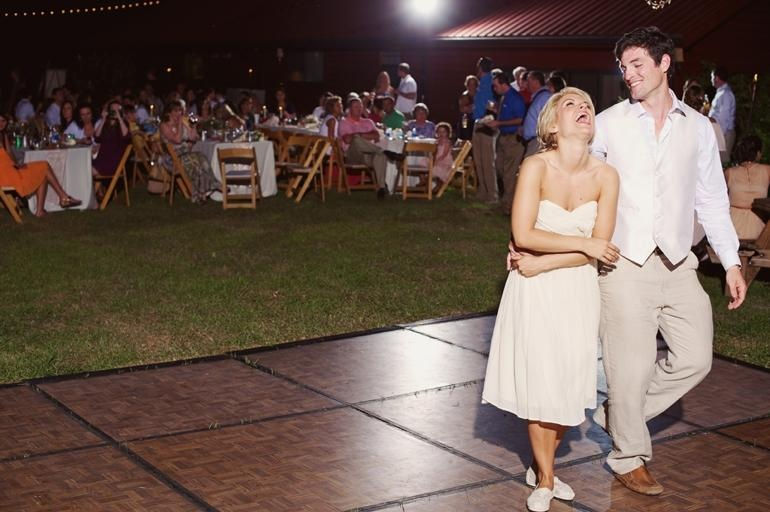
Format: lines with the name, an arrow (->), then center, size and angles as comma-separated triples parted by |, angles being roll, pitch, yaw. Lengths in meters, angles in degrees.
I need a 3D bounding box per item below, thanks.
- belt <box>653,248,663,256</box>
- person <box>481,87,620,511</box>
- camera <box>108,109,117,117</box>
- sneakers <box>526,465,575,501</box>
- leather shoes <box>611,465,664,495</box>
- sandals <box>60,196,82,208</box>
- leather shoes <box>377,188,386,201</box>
belt -> 1.462, -0.022, 3.212 | 0.048, 0.049, 0.016 | 2, 12, 8
person -> 0.861, 0.243, 3.138 | 0.652, 2.152, 0.473 | 2, 12, 9
camera -> -5.824, -2.999, 12.848 | 0.219, 0.200, 0.165 | -6, 14, -27
sneakers -> 0.904, 1.243, 3.340 | 0.122, 0.122, 0.291 | -8, 10, -29
leather shoes -> 1.410, 1.226, 3.370 | 0.127, 0.115, 0.266 | -6, 10, -33
sandals -> -6.167, -1.050, 11.773 | 0.432, 0.205, 0.191 | -4, 9, -13
leather shoes -> -0.084, -1.395, 13.833 | 0.228, 0.280, 0.237 | 0, -8, 1
